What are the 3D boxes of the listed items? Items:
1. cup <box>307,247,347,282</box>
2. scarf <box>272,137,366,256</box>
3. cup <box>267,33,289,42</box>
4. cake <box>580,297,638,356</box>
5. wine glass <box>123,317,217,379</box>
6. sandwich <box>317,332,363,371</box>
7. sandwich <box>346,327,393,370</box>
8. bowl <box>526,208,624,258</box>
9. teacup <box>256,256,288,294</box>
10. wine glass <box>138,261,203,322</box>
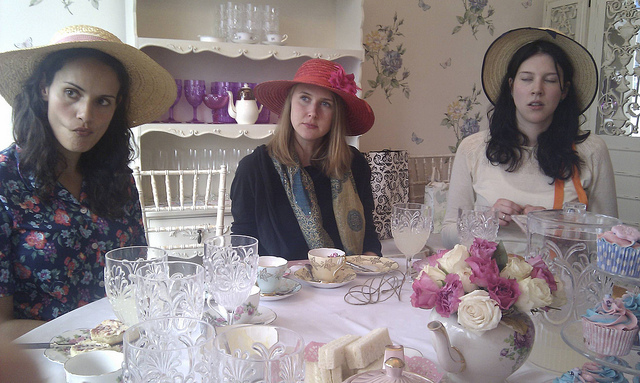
[{"bbox_3d":[0.023,0.276,1.664,0.143,0.098,0.100,2,-6,-2],"label":"cup"},{"bbox_3d":[-0.028,0.081,2.406,0.383,0.698,0.437,-2,2,-20],"label":"scarf"},{"bbox_3d":[-0.279,-1.007,2.902,0.099,0.042,0.067,2,-2,-22],"label":"cup"},{"bbox_3d":[0.756,0.351,1.185,0.140,0.121,0.136,1,0,26],"label":"cake"},{"bbox_3d":[-0.345,0.364,1.018,0.200,0.122,0.113,-2,6,-18],"label":"wine glass"},{"bbox_3d":[0.052,0.447,1.219,0.119,0.077,0.077,0,6,1],"label":"sandwich"},{"bbox_3d":[0.129,0.457,1.262,0.062,0.066,0.184,-17,-14,24],"label":"sandwich"},{"bbox_3d":[0.799,0.123,1.419,0.183,0.176,0.183,0,-2,0],"label":"bowl"},{"bbox_3d":[-0.184,0.320,1.580,0.125,0.095,0.118,10,-9,-27],"label":"teacup"},{"bbox_3d":[-0.398,0.263,1.238,0.170,0.191,0.171,1,-5,0],"label":"wine glass"}]
